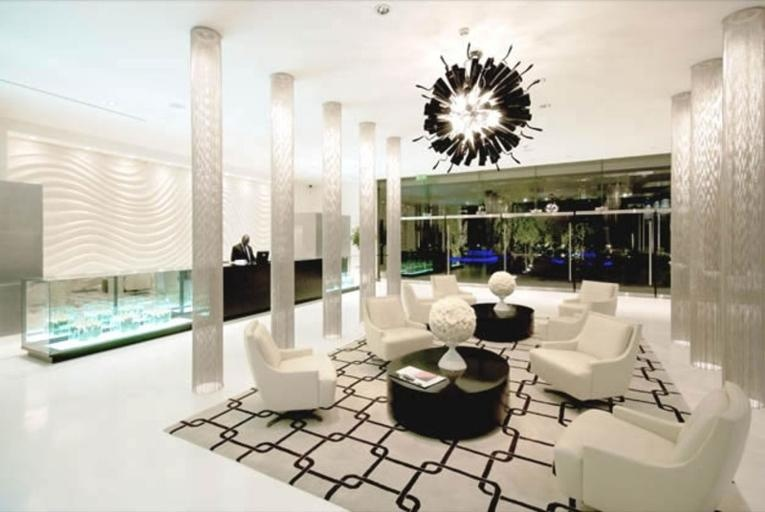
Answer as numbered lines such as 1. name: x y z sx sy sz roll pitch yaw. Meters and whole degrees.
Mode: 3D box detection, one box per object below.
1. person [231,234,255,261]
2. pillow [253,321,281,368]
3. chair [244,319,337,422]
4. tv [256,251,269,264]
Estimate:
1. person: -3.438 -0.182 11.875 0.508 0.645 1.089 -3 4 -14
2. pillow: -1.621 1.260 6.779 0.221 0.540 0.572 -12 7 -6
3. chair: -1.252 1.502 6.936 1.360 1.313 1.156 -2 7 -11
4. tv: -2.933 0.027 11.826 0.219 0.267 0.284 9 6 44
